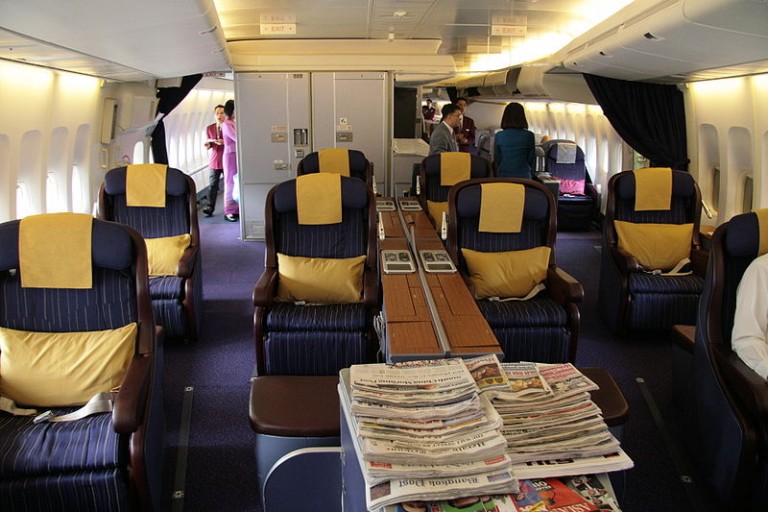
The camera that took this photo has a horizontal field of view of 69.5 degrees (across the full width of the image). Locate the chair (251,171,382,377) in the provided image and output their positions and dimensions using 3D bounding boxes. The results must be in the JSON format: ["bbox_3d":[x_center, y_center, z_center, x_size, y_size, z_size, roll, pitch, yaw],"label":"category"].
[{"bbox_3d":[-0.600,0.135,5.096,1.124,1.712,0.980,-3,12,-1],"label":"chair"}]

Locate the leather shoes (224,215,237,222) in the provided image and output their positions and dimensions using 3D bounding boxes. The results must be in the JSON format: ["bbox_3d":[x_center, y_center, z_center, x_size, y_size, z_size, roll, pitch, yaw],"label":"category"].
[{"bbox_3d":[-2.825,-0.707,10.287,0.100,0.111,0.275,-7,8,-32],"label":"leather shoes"}]

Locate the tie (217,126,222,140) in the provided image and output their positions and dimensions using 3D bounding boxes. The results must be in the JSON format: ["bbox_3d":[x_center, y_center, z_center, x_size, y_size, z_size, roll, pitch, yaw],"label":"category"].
[{"bbox_3d":[-3.095,-2.346,10.470,0.100,0.269,0.226,-6,12,-15],"label":"tie"}]

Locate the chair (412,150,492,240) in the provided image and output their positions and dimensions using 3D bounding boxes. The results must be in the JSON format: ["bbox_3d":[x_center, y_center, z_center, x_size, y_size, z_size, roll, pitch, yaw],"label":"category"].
[{"bbox_3d":[0.827,-0.813,7.210,0.906,1.193,1.047,1,31,-1],"label":"chair"}]
